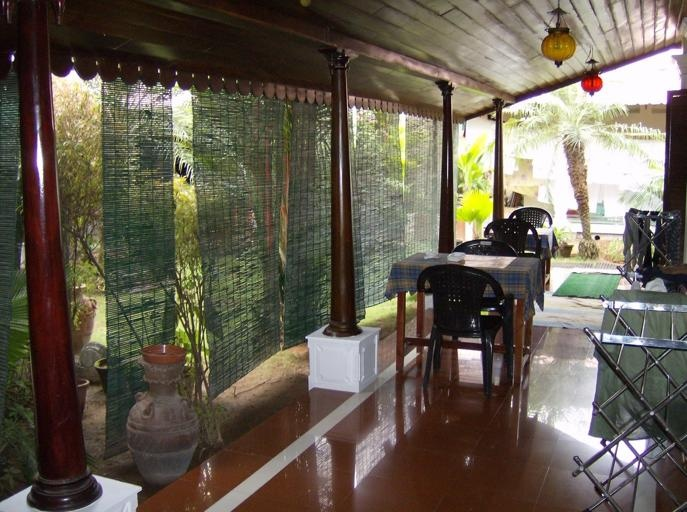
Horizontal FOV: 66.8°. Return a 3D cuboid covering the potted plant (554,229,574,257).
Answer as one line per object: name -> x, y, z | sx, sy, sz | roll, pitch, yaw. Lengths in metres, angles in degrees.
potted plant -> 4.912, -0.286, 11.692 | 0.554, 0.651, 0.555 | 4, 7, 32

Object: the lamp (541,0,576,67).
lamp -> 1.999, -2.056, 4.852 | 0.281, 0.641, 0.930 | 2, 9, 21

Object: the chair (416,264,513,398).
chair -> 0.978, 0.537, 4.178 | 0.700, 1.056, 0.765 | 2, 9, 24

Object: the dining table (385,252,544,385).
dining table -> 1.053, 0.536, 4.671 | 1.271, 0.990, 0.887 | 2, 2, 16
